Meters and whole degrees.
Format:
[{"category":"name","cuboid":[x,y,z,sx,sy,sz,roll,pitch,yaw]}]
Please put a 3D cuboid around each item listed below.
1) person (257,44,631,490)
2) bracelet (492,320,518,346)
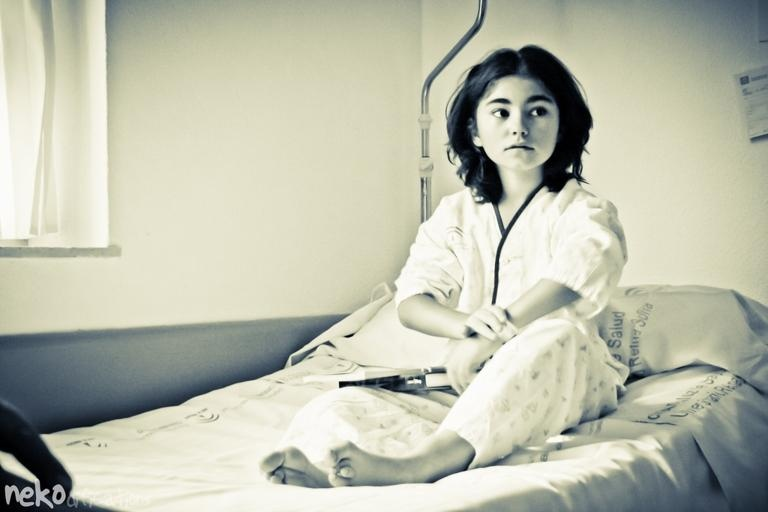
[{"category":"person","cuboid":[0.189,-0.019,1.609,0.591,1.014,1.040,1,2,38]},{"category":"bracelet","cuboid":[0.267,0.168,1.546,0.049,0.047,0.018,37,-1,-9]}]
